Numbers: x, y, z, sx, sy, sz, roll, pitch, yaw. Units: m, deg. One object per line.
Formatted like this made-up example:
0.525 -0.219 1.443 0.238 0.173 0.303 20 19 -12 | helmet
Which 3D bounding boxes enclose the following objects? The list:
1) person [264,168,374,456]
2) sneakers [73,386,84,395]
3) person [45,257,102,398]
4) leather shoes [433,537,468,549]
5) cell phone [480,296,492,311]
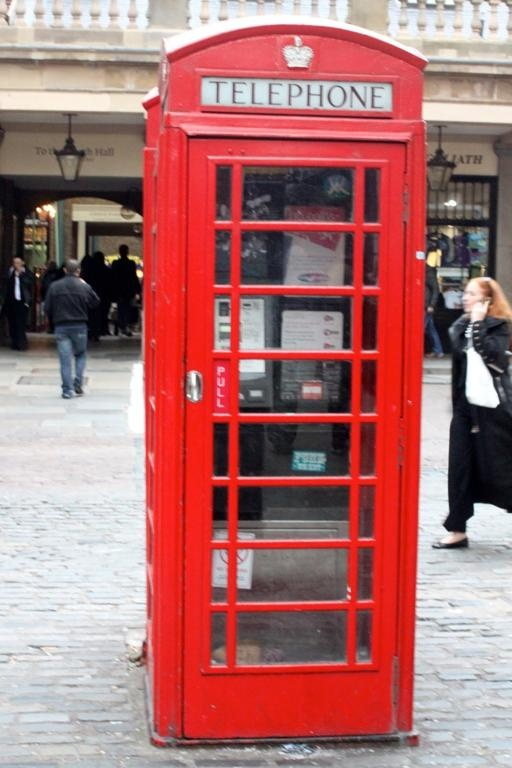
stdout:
0.219 -0.236 4.238 0.355 0.990 0.090 0 5 -11 | person
-2.003 0.080 13.871 0.047 0.154 0.062 -1 6 -41 | sneakers
-2.118 -0.652 13.998 0.603 1.515 1.230 0 5 -8 | person
1.129 0.924 7.279 0.211 0.080 0.075 4 -2 -13 | leather shoes
1.283 -0.457 6.969 0.050 0.071 0.069 5 8 15 | cell phone
